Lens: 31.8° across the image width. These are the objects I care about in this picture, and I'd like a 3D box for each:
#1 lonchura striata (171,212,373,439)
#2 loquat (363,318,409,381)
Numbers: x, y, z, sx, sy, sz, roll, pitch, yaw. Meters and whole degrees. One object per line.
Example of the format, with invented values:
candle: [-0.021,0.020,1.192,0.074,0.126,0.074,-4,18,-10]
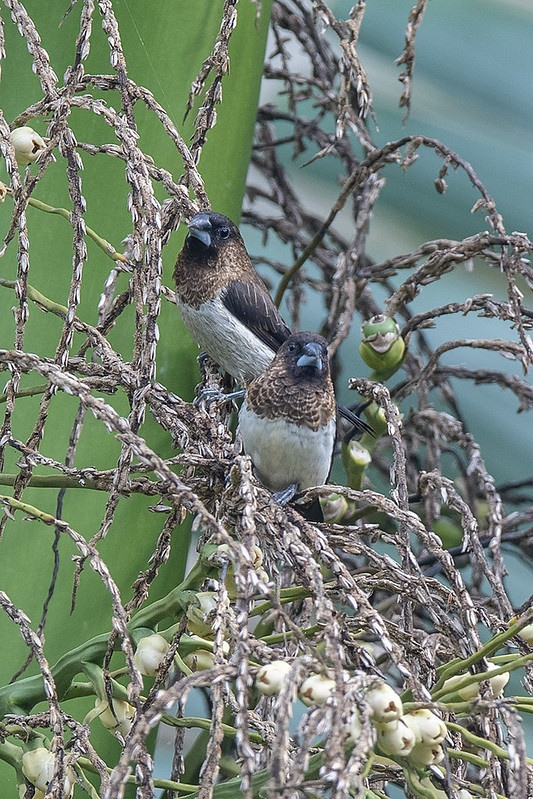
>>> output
lonchura striata: [-0.047,-0.107,1.189,0.173,0.338,0.323,7,105,30]
loquat: [0.130,-0.063,1.053,0.039,0.042,0.069,13,115,39]
